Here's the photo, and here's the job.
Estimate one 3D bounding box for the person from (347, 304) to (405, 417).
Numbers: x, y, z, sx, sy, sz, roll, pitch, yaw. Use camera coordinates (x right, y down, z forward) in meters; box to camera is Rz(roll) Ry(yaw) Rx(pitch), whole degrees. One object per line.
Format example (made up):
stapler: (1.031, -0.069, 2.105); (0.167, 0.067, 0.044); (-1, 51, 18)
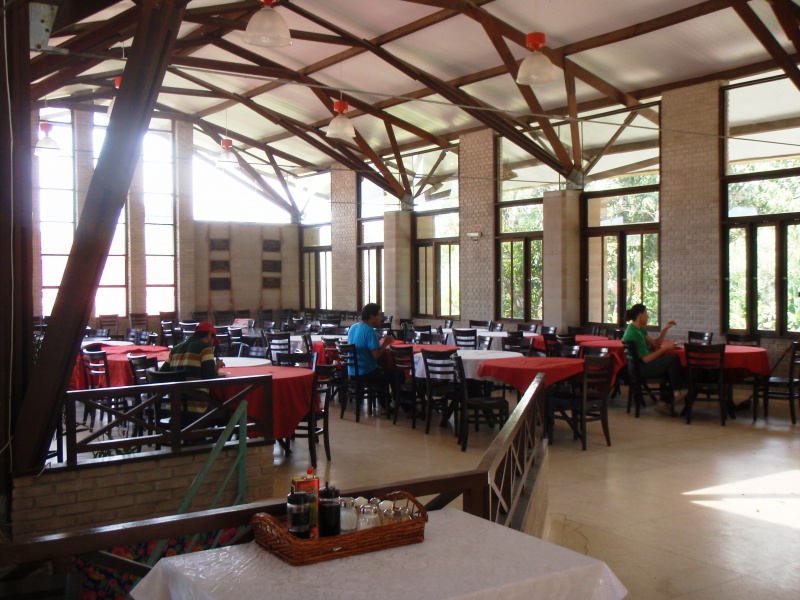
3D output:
person: (-0.295, 0.750, 8.137); (0.716, 1.351, 0.636); (-7, 3, -35)

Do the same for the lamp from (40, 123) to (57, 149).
lamp: (-5.949, -2.865, 11.002); (0.276, 0.505, 0.552); (-3, 5, -29)

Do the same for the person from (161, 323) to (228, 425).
person: (-1.745, 0.598, 5.422); (0.461, 0.778, 1.283); (-2, 4, -17)

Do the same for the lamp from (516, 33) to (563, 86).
lamp: (1.418, -2.598, 6.765); (0.471, 0.473, 0.488); (14, 33, 37)

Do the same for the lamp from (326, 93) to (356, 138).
lamp: (-0.828, -2.602, 9.053); (0.443, 0.455, 0.416); (-15, 22, -42)

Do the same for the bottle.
bottle: (-0.188, 0.737, 2.439); (0.388, 0.165, 0.267); (7, -9, -38)
